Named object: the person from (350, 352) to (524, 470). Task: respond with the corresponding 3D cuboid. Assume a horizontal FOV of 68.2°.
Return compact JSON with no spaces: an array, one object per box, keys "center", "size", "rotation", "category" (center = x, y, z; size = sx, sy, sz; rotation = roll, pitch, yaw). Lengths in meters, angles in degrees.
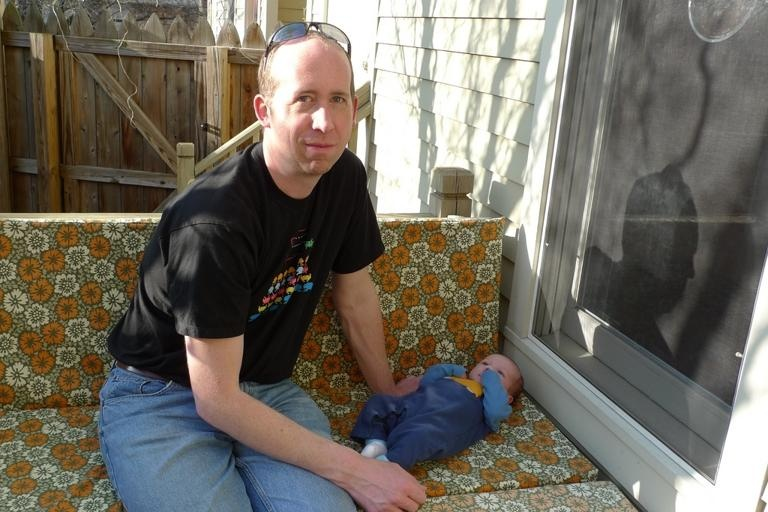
[{"center":[0.256,0.729,2.698],"size":[0.763,0.264,0.377],"rotation":[-15,26,-32],"category":"person"}]
